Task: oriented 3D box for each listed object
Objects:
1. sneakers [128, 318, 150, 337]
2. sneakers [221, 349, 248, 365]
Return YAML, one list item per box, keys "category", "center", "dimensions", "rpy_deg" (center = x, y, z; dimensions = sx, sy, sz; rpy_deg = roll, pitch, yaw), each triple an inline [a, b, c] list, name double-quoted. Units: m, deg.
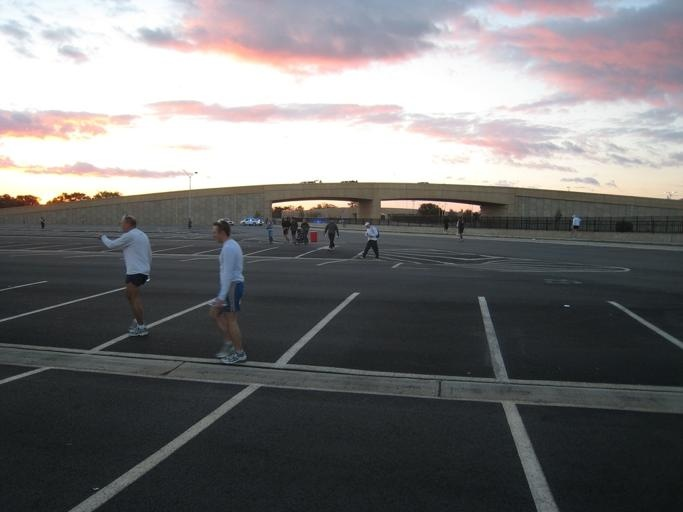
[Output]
- category: "sneakers"
  center: [-3.380, 1.204, 8.771]
  dimensions: [0.228, 0.146, 0.306]
  rpy_deg: [3, 3, 7]
- category: "sneakers"
  center: [-1.494, 1.422, 7.338]
  dimensions: [0.305, 0.140, 0.162]
  rpy_deg: [2, 6, -2]
